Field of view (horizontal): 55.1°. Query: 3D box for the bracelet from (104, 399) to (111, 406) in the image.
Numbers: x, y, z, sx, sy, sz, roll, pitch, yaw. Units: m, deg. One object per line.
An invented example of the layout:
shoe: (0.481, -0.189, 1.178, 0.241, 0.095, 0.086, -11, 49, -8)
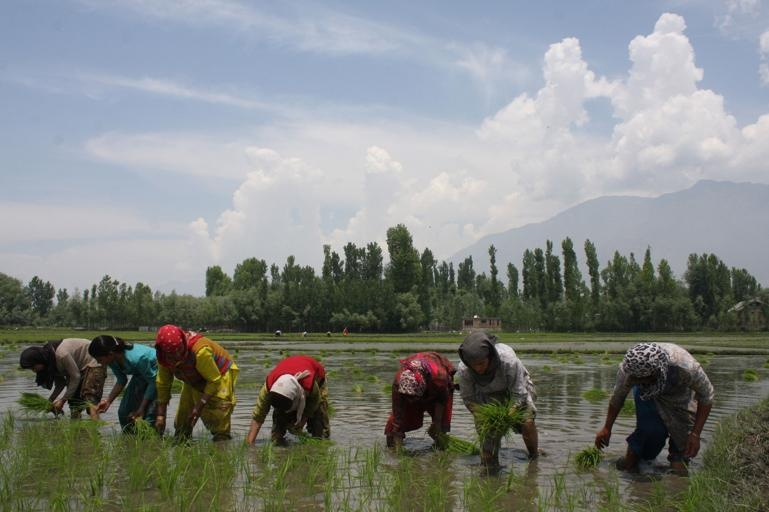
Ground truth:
bracelet: (-6.501, 3.422, 17.311, 0.117, 0.172, 0.154, -4, -4, -2)

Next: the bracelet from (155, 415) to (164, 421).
bracelet: (-4.907, 3.522, 16.140, 0.180, 0.098, 0.130, -8, -1, -45)

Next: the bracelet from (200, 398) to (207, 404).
bracelet: (-3.949, 3.166, 16.136, 0.099, 0.073, 0.123, 11, -21, -34)

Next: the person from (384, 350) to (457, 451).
person: (0.828, 3.141, 15.987, 1.414, 2.092, 1.179, 1, -5, -19)
